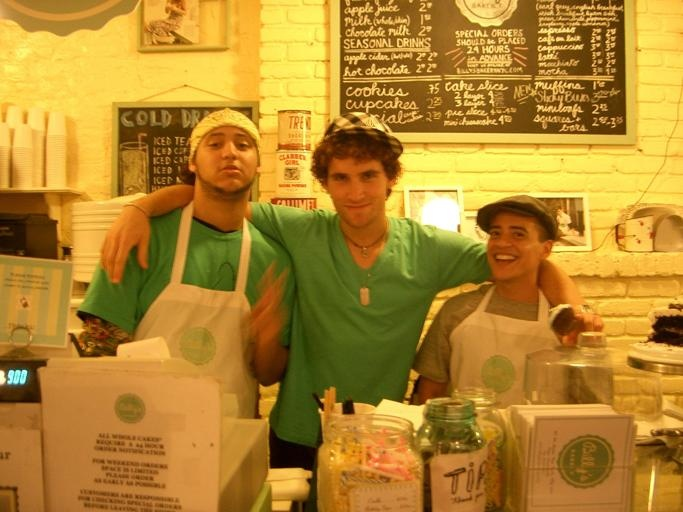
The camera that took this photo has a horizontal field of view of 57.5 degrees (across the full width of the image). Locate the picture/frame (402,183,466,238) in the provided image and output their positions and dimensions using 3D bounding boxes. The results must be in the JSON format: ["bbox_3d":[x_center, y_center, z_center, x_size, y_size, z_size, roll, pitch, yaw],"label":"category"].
[{"bbox_3d":[0.501,-0.227,3.281,0.289,0.316,0.029,-1,34,16],"label":"picture/frame"}]

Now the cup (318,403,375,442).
[{"bbox_3d":[0.018,0.376,1.486,0.116,0.076,0.113,0,-6,0],"label":"cup"}]

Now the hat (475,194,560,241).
[{"bbox_3d":[0.694,-0.176,2.439,0.253,0.101,0.198,18,-19,2],"label":"hat"}]

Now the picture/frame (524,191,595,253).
[{"bbox_3d":[1.208,-0.185,3.414,0.028,0.309,0.374,-10,7,-31],"label":"picture/frame"}]

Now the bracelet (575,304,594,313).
[{"bbox_3d":[0.867,0.188,2.224,0.057,0.021,0.073,1,9,11],"label":"bracelet"}]

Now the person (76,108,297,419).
[{"bbox_3d":[-0.533,0.033,2.205,0.708,1.118,0.316,0,3,-5],"label":"person"}]

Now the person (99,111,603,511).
[{"bbox_3d":[0.063,0.160,2.106,1.606,1.511,0.463,3,-9,-6],"label":"person"}]

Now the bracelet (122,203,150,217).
[{"bbox_3d":[-0.706,-0.160,2.151,0.084,0.051,0.040,-1,3,-15],"label":"bracelet"}]

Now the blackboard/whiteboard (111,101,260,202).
[{"bbox_3d":[-0.752,-0.500,2.979,0.779,0.607,0.032,0,2,0],"label":"blackboard/whiteboard"}]
